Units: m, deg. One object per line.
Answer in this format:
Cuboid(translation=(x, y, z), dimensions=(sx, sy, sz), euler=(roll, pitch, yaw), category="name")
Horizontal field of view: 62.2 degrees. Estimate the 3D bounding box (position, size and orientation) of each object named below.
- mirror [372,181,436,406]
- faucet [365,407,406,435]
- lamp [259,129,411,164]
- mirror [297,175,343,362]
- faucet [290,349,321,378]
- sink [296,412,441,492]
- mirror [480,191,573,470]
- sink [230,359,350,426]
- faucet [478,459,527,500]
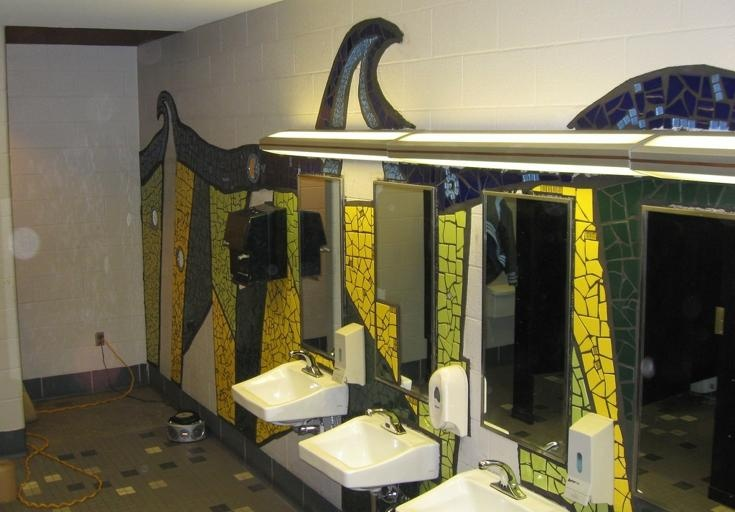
Cuboid(translation=(0.209, 0.171, 3.534), dimensions=(0.063, 1.175, 0.512), euler=(-8, 12, -36), category="mirror")
Cuboid(translation=(0.100, 0.975, 3.667), dimensions=(0.088, 0.105, 0.301), euler=(-2, 6, -32), category="faucet")
Cuboid(translation=(-0.204, -0.648, 3.510), dimensions=(0.355, 0.149, 1.275), euler=(-8, 13, -29), category="lamp")
Cuboid(translation=(-0.315, 0.059, 4.129), dimensions=(0.048, 1.188, 0.457), euler=(-10, 13, -41), category="mirror")
Cuboid(translation=(-0.488, 0.732, 4.274), dimensions=(0.112, 0.190, 0.353), euler=(-5, 7, -38), category="faucet")
Cuboid(translation=(-0.004, 1.137, 3.466), dimensions=(0.660, 0.260, 0.666), euler=(-1, 3, -44), category="sink")
Cuboid(translation=(0.756, 0.314, 2.916), dimensions=(0.084, 1.208, 0.502), euler=(-9, 13, -39), category="mirror")
Cuboid(translation=(-0.550, 0.955, 4.150), dimensions=(0.588, 0.256, 0.655), euler=(-3, 6, -34), category="sink")
Cuboid(translation=(0.657, 1.078, 2.987), dimensions=(0.246, 0.125, 0.081), euler=(7, 2, 42), category="faucet")
